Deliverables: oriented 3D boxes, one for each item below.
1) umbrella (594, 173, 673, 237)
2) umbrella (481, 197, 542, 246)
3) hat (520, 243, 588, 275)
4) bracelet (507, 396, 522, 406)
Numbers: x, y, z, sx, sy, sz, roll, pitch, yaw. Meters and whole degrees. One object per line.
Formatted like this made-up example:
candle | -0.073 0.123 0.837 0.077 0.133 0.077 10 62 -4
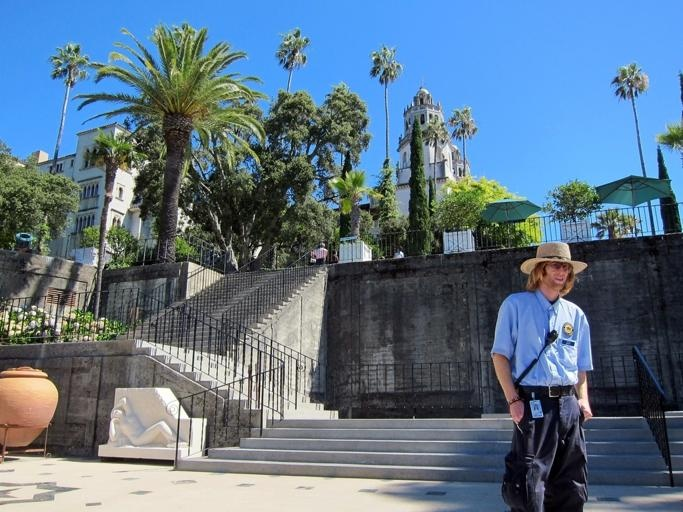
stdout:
umbrella | 10.185 -2.059 16.307 2.227 1.077 1.410 -3 -9 8
umbrella | 8.168 -1.493 22.683 2.397 1.822 2.421 8 -31 -7
hat | 1.929 0.003 4.273 0.509 0.245 0.593 2 -2 -3
bracelet | 1.428 1.189 3.850 0.108 0.065 0.104 -5 -9 17
